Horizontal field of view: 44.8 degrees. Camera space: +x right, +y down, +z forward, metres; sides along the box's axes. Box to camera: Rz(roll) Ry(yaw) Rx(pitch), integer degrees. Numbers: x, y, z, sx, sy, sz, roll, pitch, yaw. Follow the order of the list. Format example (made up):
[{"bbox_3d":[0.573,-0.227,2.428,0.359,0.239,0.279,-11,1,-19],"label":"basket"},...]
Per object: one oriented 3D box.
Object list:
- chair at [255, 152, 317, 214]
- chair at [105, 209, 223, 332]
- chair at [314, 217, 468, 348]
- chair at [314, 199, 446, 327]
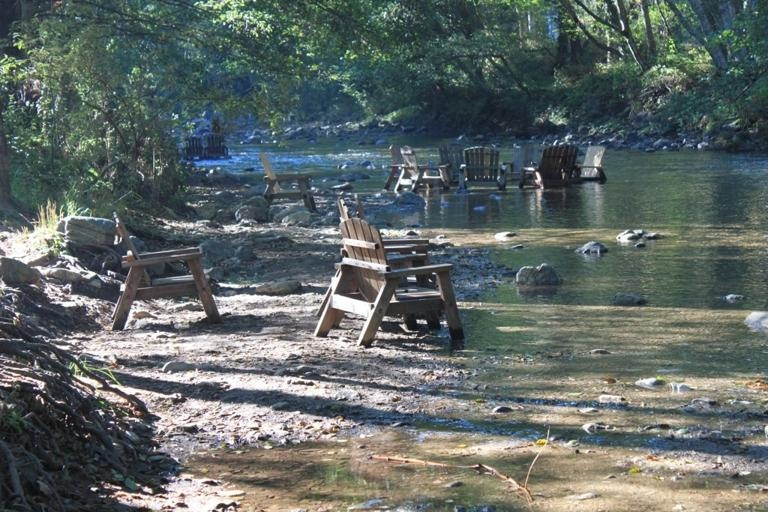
[{"bbox_3d":[-2.580,-1.943,23.428,1.662,1.356,1.341,3,26,-2],"label":"chair"},{"bbox_3d":[-3.308,0.176,13.888,1.985,1.732,1.682,-3,4,-14],"label":"chair"},{"bbox_3d":[0.066,0.216,13.069,2.252,1.811,1.726,-6,9,-27],"label":"chair"},{"bbox_3d":[-0.069,0.184,13.215,2.248,2.010,1.625,-5,10,-21],"label":"chair"}]
